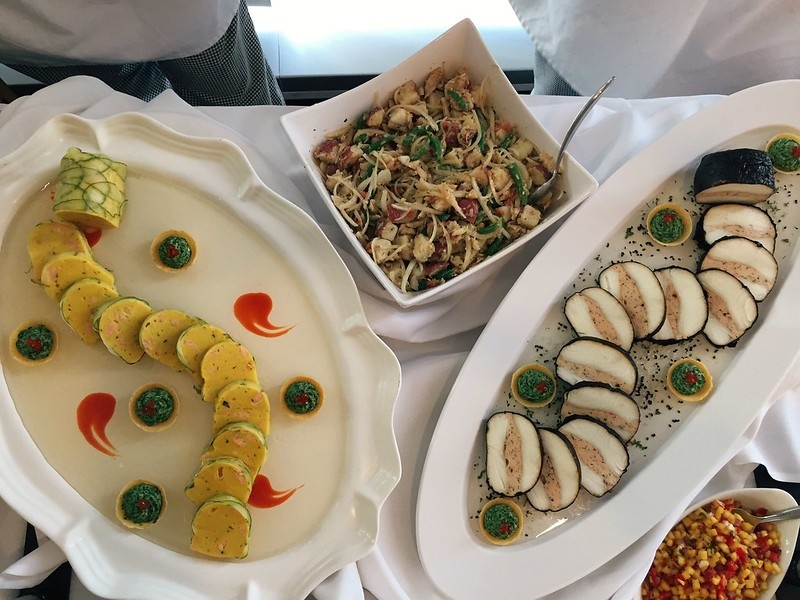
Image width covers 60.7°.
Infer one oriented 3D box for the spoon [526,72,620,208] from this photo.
[{"bbox_3d":[0.825,-0.745,3.249,0.119,0.151,0.873,20,-68,5],"label":"spoon"}]
